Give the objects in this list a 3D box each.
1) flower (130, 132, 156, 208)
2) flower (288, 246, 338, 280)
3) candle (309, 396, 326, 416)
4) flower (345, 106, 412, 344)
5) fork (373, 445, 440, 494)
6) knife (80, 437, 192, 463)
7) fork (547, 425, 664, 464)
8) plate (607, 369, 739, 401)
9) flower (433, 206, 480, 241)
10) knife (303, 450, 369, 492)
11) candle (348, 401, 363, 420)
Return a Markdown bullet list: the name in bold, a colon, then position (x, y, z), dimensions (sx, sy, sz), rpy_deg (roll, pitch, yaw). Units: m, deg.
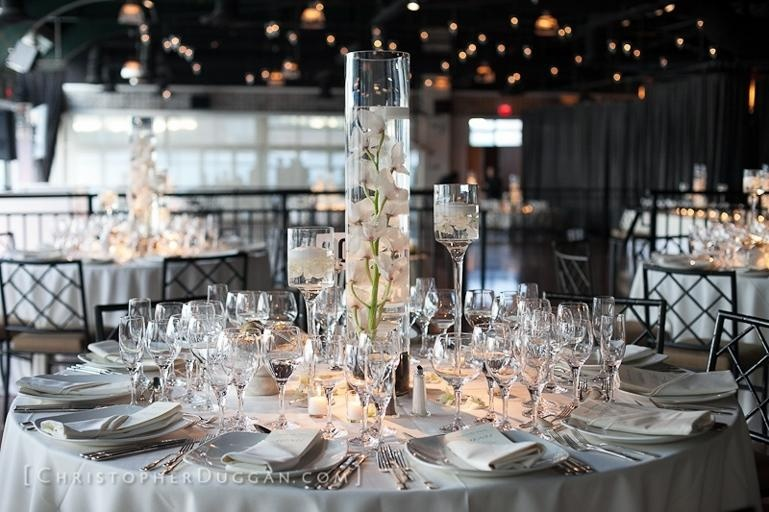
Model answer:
- **flower**: position (-1.930, -0.689, 6.433), dimensions (0.199, 0.661, 0.139), rpy_deg (1, -1, -22)
- **flower**: position (-0.344, 0.041, 3.748), dimensions (0.152, 0.125, 0.159), rpy_deg (-1, -1, 35)
- **candle**: position (-0.295, 0.673, 3.579), dimensions (0.069, 0.075, 0.074), rpy_deg (2, -3, -3)
- **flower**: position (-0.024, -0.170, 3.554), dimensions (0.284, 1.002, 0.202), rpy_deg (0, -1, -7)
- **fork**: position (0.055, 0.836, 3.175), dimensions (0.092, 0.058, 0.367), rpy_deg (-10, 11, -15)
- **knife**: position (-1.016, 0.793, 3.244), dimensions (0.275, 0.014, 0.069), rpy_deg (-3, 13, -23)
- **fork**: position (0.909, 0.775, 3.249), dimensions (0.287, 0.057, 0.072), rpy_deg (9, 37, 31)
- **plate**: position (1.329, 0.587, 3.639), dimensions (0.304, 0.062, 0.233), rpy_deg (6, 6, 12)
- **flower**: position (0.368, -0.155, 3.982), dimensions (0.165, 0.140, 0.174), rpy_deg (0, 1, 31)
- **knife**: position (-0.175, 0.854, 3.125), dimensions (0.082, 0.023, 0.264), rpy_deg (15, 17, 20)
- **candle**: position (-0.123, 0.685, 3.530), dimensions (0.061, 0.080, 0.066), rpy_deg (2, -1, 1)
